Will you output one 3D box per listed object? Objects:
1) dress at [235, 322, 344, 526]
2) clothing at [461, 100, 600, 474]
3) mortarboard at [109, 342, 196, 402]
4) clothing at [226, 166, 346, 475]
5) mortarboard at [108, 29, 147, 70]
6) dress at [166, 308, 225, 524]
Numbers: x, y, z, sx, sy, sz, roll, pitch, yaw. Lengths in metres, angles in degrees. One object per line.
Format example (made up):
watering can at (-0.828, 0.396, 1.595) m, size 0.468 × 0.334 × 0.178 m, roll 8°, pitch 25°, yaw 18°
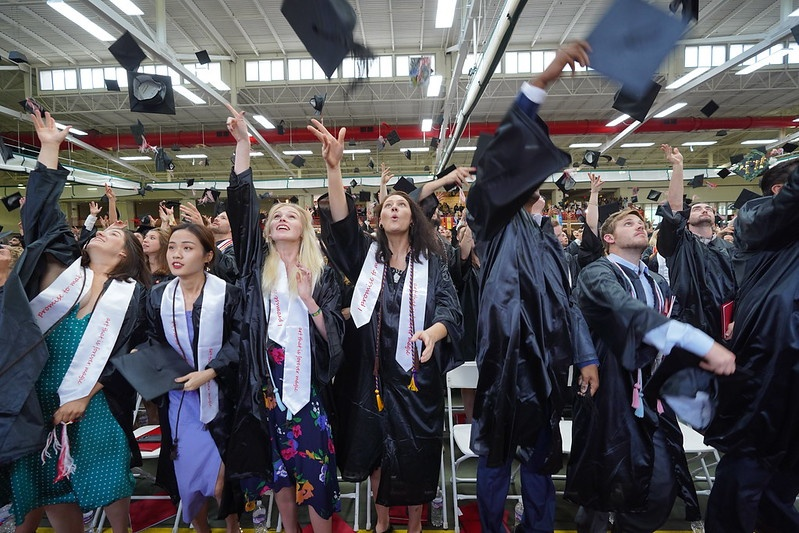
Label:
dress at (-0.839, 1.338, 5.218) m, size 0.742 × 1.637 × 0.505 m, roll 4°, pitch 10°, yaw 4°
clothing at (1.003, 0.177, 5.079) m, size 0.849 × 3.093 × 0.528 m, roll 1°, pitch 3°, yaw 15°
mortarboard at (-1.981, 0.845, 5.068) m, size 0.441 × 0.376 × 0.467 m, roll 2°, pitch 3°, yaw 31°
clothing at (-1.055, 0.656, 5.298) m, size 1.094 × 3.152 × 0.741 m, roll 7°, pitch 4°, yaw -4°
mortarboard at (-3.347, -2.821, 7.716) m, size 0.480 × 0.477 × 0.090 m, roll -25°, pitch 21°, yaw 15°
dress at (-1.705, 1.559, 5.209) m, size 0.442 × 1.177 × 0.164 m, roll 0°, pitch 3°, yaw -11°
